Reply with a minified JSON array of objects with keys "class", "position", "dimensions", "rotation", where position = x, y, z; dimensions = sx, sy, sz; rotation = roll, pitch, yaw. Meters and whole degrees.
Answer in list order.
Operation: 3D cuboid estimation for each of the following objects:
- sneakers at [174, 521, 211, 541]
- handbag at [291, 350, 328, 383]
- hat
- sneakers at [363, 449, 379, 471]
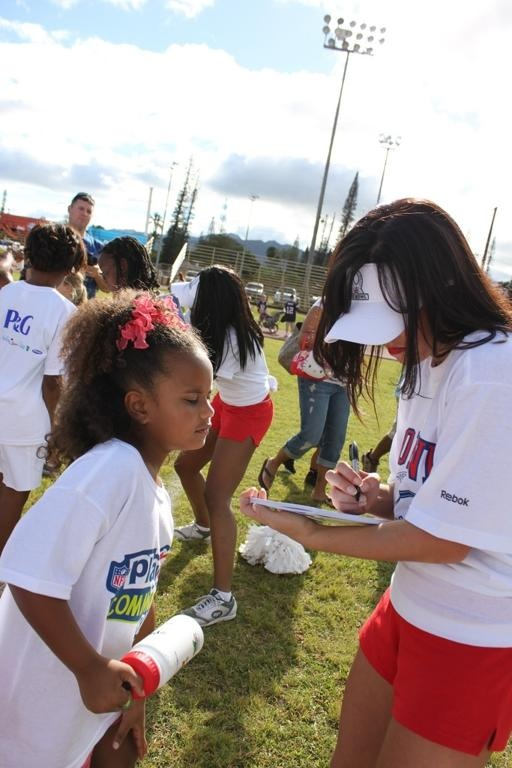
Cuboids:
[{"class":"sneakers","position":[-0.451,1.050,3.876],"dimensions":[0.321,0.133,0.112],"rotation":[4,0,-5]},{"class":"handbag","position":[0.387,-0.116,3.987],"dimensions":[0.259,0.259,0.141],"rotation":[11,-6,10]},{"class":"hat","position":[0.297,-0.191,1.366],"dimensions":[0.141,0.111,0.218],"rotation":[3,35,44]},{"class":"sneakers","position":[1.234,0.887,5.858],"dimensions":[0.150,0.323,0.113],"rotation":[-5,1,21]}]
